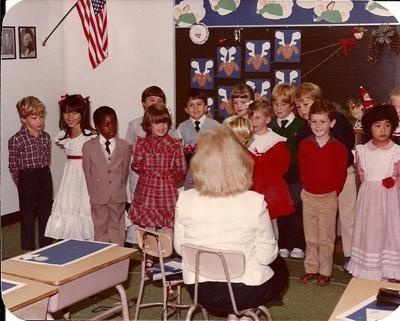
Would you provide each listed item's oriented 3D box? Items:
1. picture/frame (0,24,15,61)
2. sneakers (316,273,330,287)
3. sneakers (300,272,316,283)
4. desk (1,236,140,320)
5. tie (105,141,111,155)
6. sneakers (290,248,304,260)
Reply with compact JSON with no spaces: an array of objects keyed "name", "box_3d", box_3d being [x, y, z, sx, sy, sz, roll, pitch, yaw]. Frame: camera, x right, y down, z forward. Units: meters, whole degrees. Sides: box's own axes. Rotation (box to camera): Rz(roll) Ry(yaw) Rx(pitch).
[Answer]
[{"name":"picture/frame","box_3d":[-2.679,-1.632,5.189,0.123,0.473,0.258,0,7,11]},{"name":"sneakers","box_3d":[1.222,1.183,3.719,0.077,0.091,0.207,-2,-11,17]},{"name":"sneakers","box_3d":[1.092,1.183,3.800,0.169,0.076,0.067,3,-3,-37]},{"name":"desk","box_3d":[-0.898,0.630,2.454,0.521,0.527,0.681,10,13,35]},{"name":"tie","box_3d":[-0.990,-0.147,4.022,0.061,0.143,0.025,-2,7,-4]},{"name":"sneakers","box_3d":[1.162,1.101,4.480,0.193,0.096,0.164,0,7,8]}]
